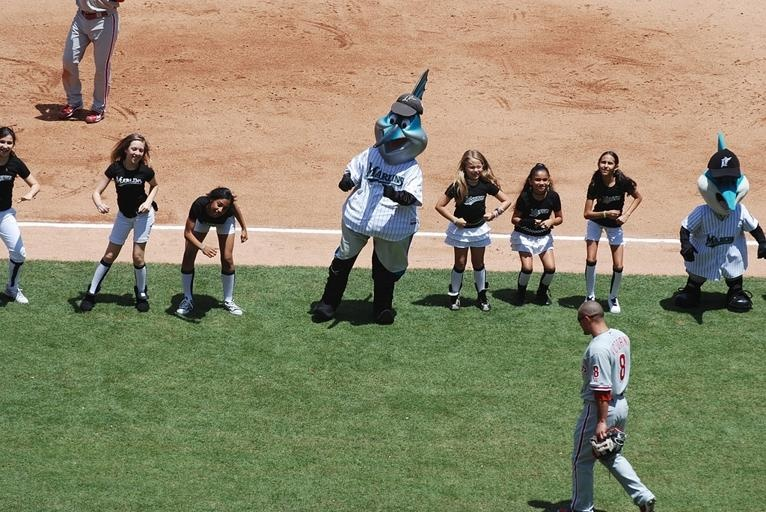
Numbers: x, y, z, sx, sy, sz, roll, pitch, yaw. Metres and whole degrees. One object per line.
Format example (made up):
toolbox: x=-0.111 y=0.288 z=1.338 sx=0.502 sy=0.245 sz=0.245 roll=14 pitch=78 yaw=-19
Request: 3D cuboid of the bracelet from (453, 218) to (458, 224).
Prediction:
bracelet: x=1.299 y=-0.618 z=24.417 sx=0.092 sy=0.021 sz=0.080 roll=4 pitch=52 yaw=3

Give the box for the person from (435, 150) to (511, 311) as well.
person: x=1.584 y=-0.433 z=24.771 sx=1.239 sy=2.900 sz=0.726 roll=5 pitch=10 yaw=1

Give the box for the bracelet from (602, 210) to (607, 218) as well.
bracelet: x=4.002 y=-0.756 z=24.536 sx=0.090 sy=0.078 sz=0.021 roll=6 pitch=-4 yaw=31

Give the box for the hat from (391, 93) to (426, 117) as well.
hat: x=0.451 y=-2.647 z=24.104 sx=0.423 sy=0.397 sz=0.557 roll=11 pitch=11 yaw=35

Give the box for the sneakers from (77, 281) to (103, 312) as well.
sneakers: x=-5.291 y=0.733 z=24.487 sx=0.240 sy=0.243 sz=0.649 roll=19 pitch=26 yaw=-15

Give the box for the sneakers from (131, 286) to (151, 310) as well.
sneakers: x=-4.360 y=0.804 z=24.581 sx=0.206 sy=0.503 sz=0.157 roll=-6 pitch=-27 yaw=-13

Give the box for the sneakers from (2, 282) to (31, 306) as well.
sneakers: x=-6.624 y=0.682 z=24.509 sx=0.609 sy=0.247 sz=0.211 roll=17 pitch=28 yaw=16

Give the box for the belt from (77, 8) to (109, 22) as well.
belt: x=-6.497 y=-5.341 z=30.372 sx=0.678 sy=0.192 sz=0.295 roll=3 pitch=9 yaw=-10

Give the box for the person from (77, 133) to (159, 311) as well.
person: x=-4.652 y=-0.571 z=24.314 sx=1.139 sy=3.200 sz=1.137 roll=5 pitch=10 yaw=-2

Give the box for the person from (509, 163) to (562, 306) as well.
person: x=2.802 y=-0.390 z=25.083 sx=0.876 sy=2.594 sz=0.596 roll=6 pitch=10 yaw=4

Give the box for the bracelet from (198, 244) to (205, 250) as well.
bracelet: x=-3.157 y=-0.150 z=23.771 sx=0.085 sy=0.073 sz=0.060 roll=-8 pitch=-2 yaw=-36

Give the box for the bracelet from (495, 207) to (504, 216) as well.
bracelet: x=2.139 y=-0.795 z=24.509 sx=0.154 sy=0.120 sz=0.129 roll=18 pitch=-13 yaw=-22

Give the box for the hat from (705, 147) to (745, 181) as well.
hat: x=6.123 y=-1.664 z=24.523 sx=0.487 sy=0.311 sz=0.613 roll=-3 pitch=23 yaw=4

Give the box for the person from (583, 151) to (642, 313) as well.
person: x=4.118 y=-0.428 z=24.863 sx=0.912 sy=2.924 sz=0.626 roll=6 pitch=10 yaw=4

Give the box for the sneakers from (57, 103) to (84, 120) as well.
sneakers: x=-7.336 y=-3.362 z=31.960 sx=0.303 sy=0.248 sz=0.620 roll=8 pitch=15 yaw=26

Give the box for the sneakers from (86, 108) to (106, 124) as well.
sneakers: x=-6.718 y=-3.238 z=31.825 sx=0.216 sy=0.228 sz=0.548 roll=4 pitch=8 yaw=12
